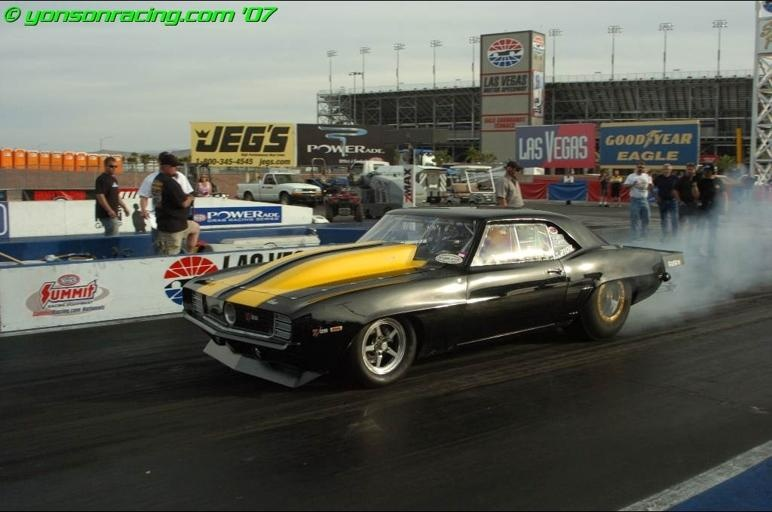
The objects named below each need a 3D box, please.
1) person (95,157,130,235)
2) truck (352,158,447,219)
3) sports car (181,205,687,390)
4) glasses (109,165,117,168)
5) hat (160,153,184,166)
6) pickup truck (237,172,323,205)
[{"bbox_3d":[-5.377,-1.112,10.557,0.567,1.536,1.048,-8,16,-24],"label":"person"},{"bbox_3d":[0.635,-2.831,23.543,3.848,1.592,2.672,-3,8,20],"label":"truck"},{"bbox_3d":[0.697,0.283,5.988,4.734,0.988,2.009,-3,4,-27],"label":"sports car"},{"bbox_3d":[-5.141,-1.630,10.205,0.105,0.024,0.093,4,6,30],"label":"glasses"},{"bbox_3d":[-3.200,-1.398,8.168,0.309,0.122,0.208,-3,21,-38],"label":"hat"},{"bbox_3d":[-6.424,-3.872,32.177,4.965,1.896,1.686,9,17,40],"label":"pickup truck"}]
